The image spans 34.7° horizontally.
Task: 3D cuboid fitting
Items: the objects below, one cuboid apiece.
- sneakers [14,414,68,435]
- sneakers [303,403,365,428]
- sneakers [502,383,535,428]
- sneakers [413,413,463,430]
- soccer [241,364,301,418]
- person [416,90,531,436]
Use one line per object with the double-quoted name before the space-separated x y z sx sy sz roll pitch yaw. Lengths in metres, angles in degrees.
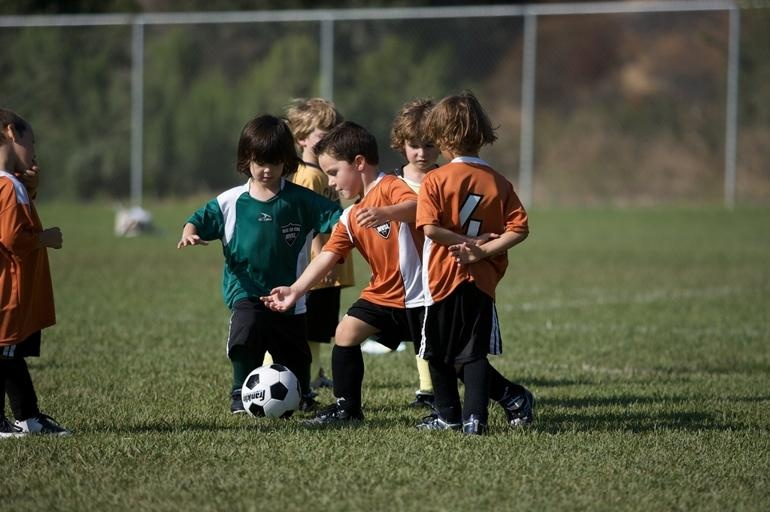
"sneakers" -3.111 1.531 11.226 0.536 0.211 0.192 2 2 -8
"sneakers" -0.447 1.496 11.415 0.644 0.273 0.218 2 -7 -1
"sneakers" 1.250 1.408 11.403 0.181 0.505 0.228 -6 9 33
"sneakers" 0.486 1.516 11.296 0.401 0.177 0.161 4 -2 19
"soccer" -1.058 1.321 11.695 0.560 0.549 0.560 -8 -8 -12
"person" 0.788 0.060 11.204 0.990 3.101 0.453 0 4 3
